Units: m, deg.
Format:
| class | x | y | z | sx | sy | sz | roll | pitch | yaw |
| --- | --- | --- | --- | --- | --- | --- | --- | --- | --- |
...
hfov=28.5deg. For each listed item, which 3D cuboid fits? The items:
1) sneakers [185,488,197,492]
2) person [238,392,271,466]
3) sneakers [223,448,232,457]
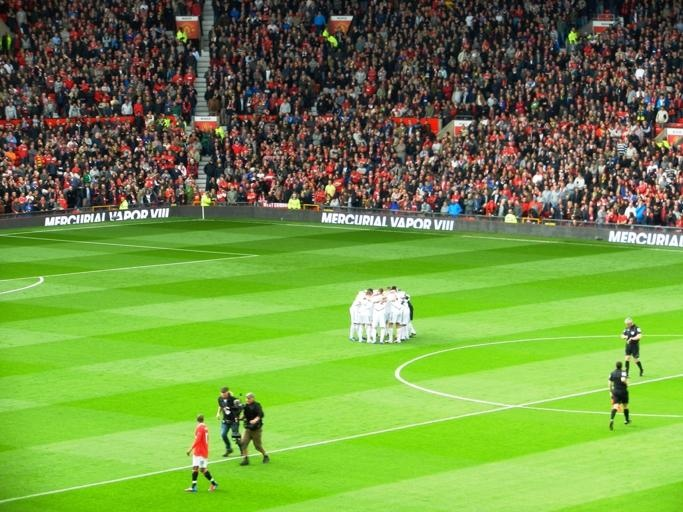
| class | x | y | z | sx | sy | sz | roll | pitch | yaw |
| --- | --- | --- | --- | --- | --- | --- | --- | --- | --- |
| sneakers | -3.816 | 5.923 | 34.064 | 0.288 | 0.123 | 0.106 | 3 | 0 | 25 |
| person | -2.337 | 4.499 | 35.723 | 0.737 | 2.047 | 1.098 | -2 | 12 | -4 |
| sneakers | -3.065 | 5.327 | 36.440 | 0.327 | 0.233 | 0.127 | 6 | 6 | 22 |
